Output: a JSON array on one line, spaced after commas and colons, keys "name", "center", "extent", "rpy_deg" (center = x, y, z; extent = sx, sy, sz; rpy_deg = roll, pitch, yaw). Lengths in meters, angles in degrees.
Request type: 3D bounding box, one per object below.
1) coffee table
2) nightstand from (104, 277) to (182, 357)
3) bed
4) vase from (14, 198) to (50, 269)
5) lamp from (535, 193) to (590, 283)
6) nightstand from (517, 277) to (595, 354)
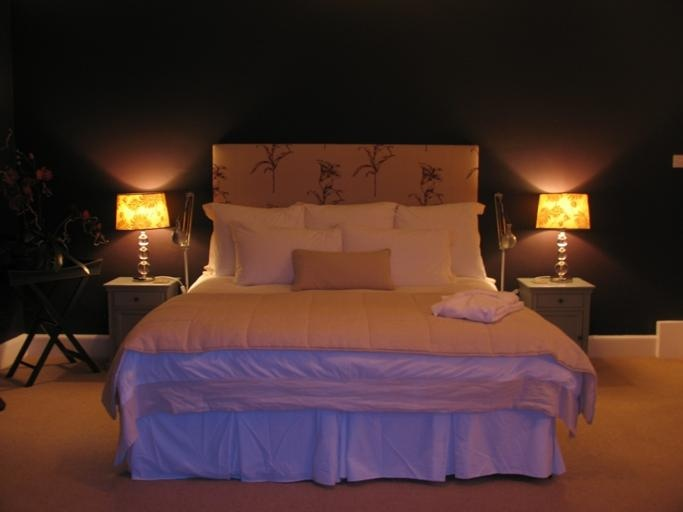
[{"name": "coffee table", "center": [-2.448, 0.505, 5.241], "extent": [0.757, 1.019, 0.882], "rpy_deg": [-1, 3, -22]}, {"name": "nightstand", "center": [-1.764, 0.525, 5.450], "extent": [0.494, 0.693, 0.453], "rpy_deg": [1, 12, -11]}, {"name": "bed", "center": [0.041, 0.184, 4.635], "extent": [3.031, 2.340, 1.986], "rpy_deg": [0, 3, 0]}, {"name": "vase", "center": [-2.616, -0.190, 5.167], "extent": [0.254, 0.564, 0.767], "rpy_deg": [-2, 3, -28]}, {"name": "lamp", "center": [1.975, -0.207, 5.547], "extent": [0.528, 0.703, 0.536], "rpy_deg": [-5, 9, -13]}, {"name": "nightstand", "center": [1.900, 0.593, 5.496], "extent": [0.609, 0.822, 0.616], "rpy_deg": [4, 14, 30]}]
